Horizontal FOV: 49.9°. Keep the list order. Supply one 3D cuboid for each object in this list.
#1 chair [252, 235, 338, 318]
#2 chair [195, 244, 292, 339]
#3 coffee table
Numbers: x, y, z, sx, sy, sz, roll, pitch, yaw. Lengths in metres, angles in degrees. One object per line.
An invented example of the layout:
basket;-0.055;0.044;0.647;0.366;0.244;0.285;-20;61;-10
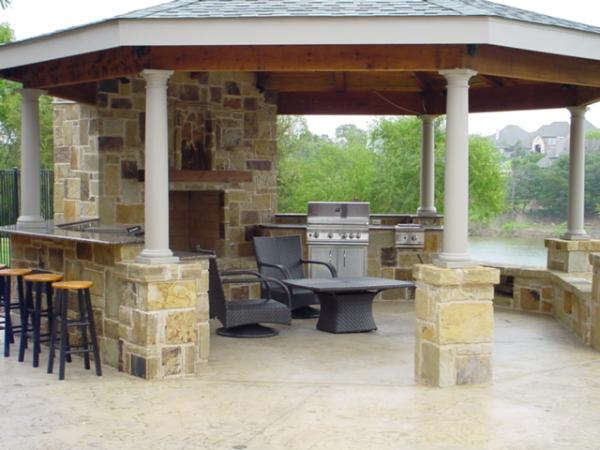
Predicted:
chair;-0.097;0.634;8.046;0.801;0.975;0.993;-2;2;-42
chair;-0.636;0.750;7.233;1.152;0.913;1.166;1;1;22
coffee table;0.517;0.916;7.386;1.238;0.589;0.751;-1;7;-13
